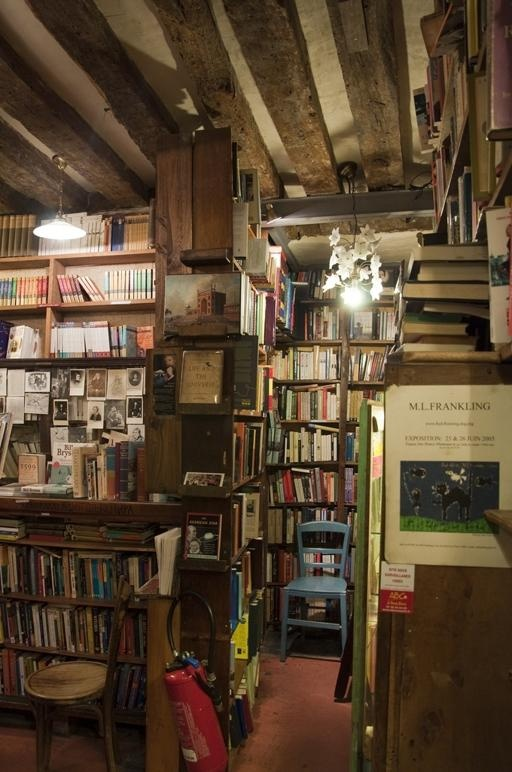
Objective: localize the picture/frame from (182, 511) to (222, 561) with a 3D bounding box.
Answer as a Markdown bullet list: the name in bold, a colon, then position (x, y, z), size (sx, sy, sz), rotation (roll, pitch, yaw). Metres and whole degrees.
- **picture/frame**: position (-0.201, 0.571, 2.246), size (0.164, 0.213, 0.028), rotation (0, -14, 6)

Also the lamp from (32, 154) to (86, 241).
- **lamp**: position (-1.042, -1.005, 3.141), size (0.248, 0.344, 0.260), rotation (5, 5, 19)
